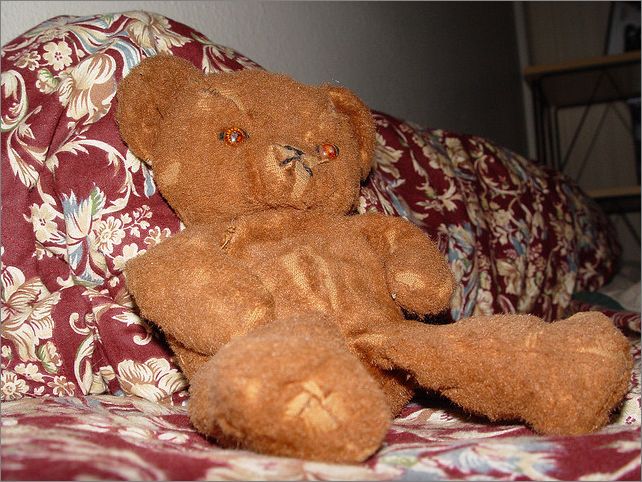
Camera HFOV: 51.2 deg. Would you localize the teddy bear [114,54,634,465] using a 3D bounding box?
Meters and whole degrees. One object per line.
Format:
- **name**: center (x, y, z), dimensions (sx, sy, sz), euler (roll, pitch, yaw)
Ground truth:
- **teddy bear**: center (0.035, -0.016, 0.963), dimensions (0.495, 0.520, 0.609), euler (9, -10, -35)
